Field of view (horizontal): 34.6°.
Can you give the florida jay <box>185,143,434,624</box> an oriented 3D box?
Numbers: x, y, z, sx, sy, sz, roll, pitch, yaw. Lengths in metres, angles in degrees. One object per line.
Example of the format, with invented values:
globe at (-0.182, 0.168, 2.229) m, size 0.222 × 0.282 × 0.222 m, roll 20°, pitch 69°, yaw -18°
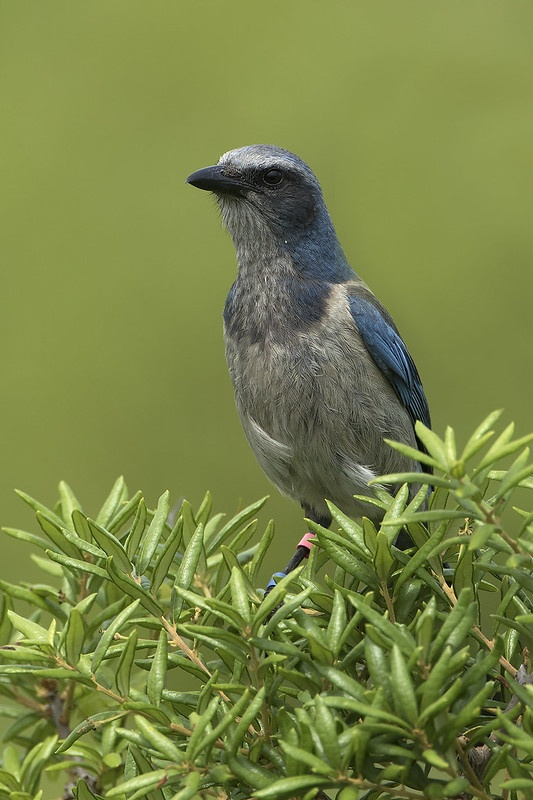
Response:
florida jay at (0.117, -0.288, 3.209) m, size 0.734 × 1.515 × 0.516 m, roll 4°, pitch -33°, yaw -30°
